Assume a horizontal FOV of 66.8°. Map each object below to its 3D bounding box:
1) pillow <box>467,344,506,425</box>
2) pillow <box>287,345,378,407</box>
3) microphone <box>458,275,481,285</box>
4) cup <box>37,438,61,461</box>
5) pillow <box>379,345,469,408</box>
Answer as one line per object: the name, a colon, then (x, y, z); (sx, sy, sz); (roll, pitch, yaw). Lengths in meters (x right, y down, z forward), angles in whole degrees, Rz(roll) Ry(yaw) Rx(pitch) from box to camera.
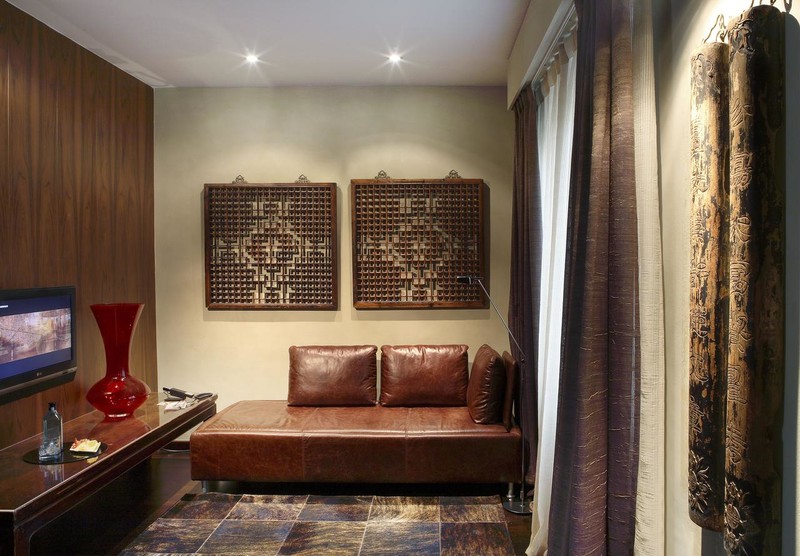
pillow: (0.659, 0.773, 4.743); (0.240, 0.487, 0.683); (6, 6, 3)
pillow: (-0.550, 0.795, 4.951); (0.732, 0.510, 0.266); (1, -6, -9)
microphone: (0.549, 0.013, 4.891); (0.092, 0.053, 0.152); (-4, -6, 41)
cup: (-2.083, 1.005, 3.592); (0.122, 0.120, 0.121); (0, 10, 0)
pillow: (0.201, 0.785, 4.915); (0.731, 0.511, 0.266); (0, -5, 2)
